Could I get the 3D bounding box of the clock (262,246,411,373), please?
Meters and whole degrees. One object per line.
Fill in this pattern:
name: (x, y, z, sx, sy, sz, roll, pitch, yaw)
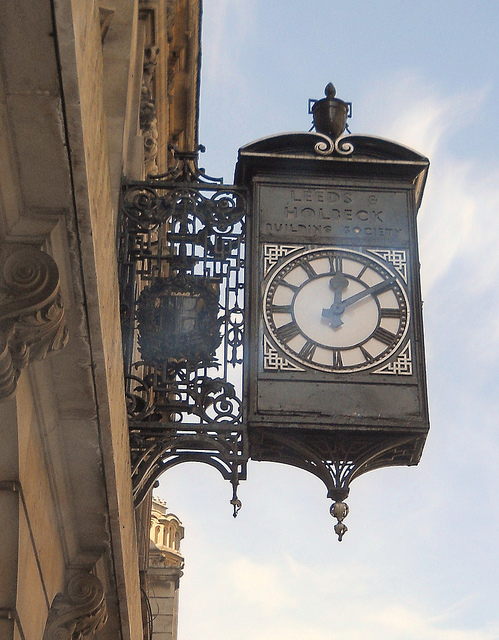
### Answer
clock: (0.673, -0.025, 18.978, 1.047, 1.229, 0.100, 2, -42, -6)
